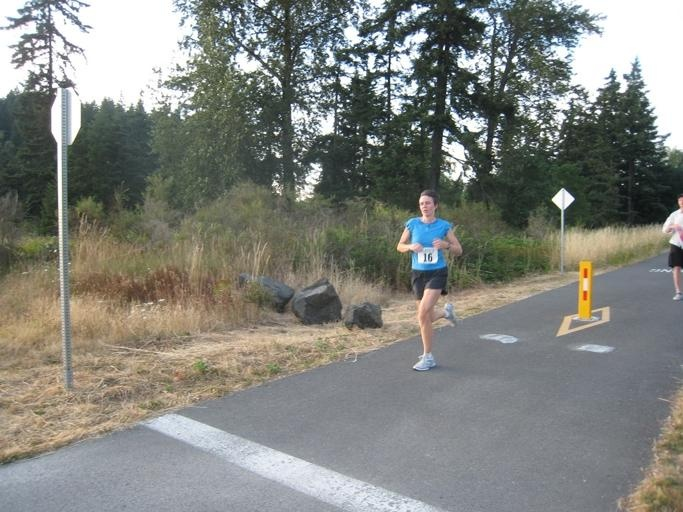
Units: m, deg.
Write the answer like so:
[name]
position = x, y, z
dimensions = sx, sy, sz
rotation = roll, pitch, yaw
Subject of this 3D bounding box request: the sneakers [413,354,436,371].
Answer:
[sneakers]
position = 1.182, 1.517, 10.111
dimensions = 0.375, 0.273, 0.169
rotation = -3, 2, -31

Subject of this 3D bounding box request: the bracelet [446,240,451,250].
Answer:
[bracelet]
position = 1.495, -0.152, 9.867
dimensions = 0.025, 0.071, 0.073
rotation = -14, 31, 40

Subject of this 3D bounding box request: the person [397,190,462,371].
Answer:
[person]
position = 1.283, 0.322, 10.376
dimensions = 0.874, 2.612, 1.526
rotation = 1, 12, 7
